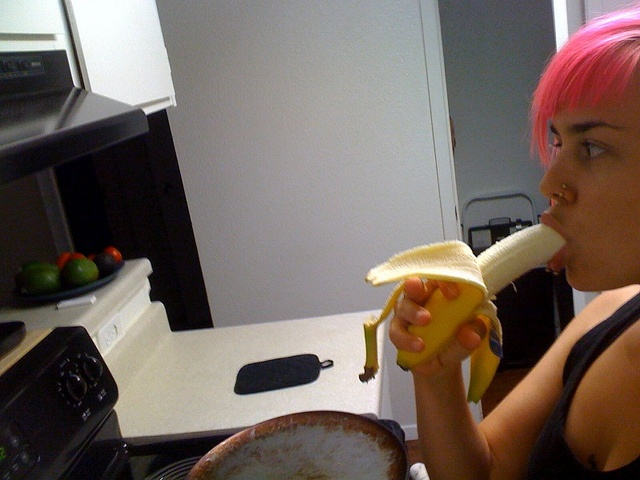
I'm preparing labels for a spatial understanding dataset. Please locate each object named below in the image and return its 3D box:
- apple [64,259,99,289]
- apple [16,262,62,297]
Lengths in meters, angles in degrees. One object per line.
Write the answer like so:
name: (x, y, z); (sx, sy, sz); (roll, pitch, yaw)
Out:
apple: (-0.719, 0.098, 1.405); (0.086, 0.086, 0.083); (17, -25, -30)
apple: (-0.842, 0.112, 1.407); (0.132, 0.079, 0.090); (0, 23, 19)
